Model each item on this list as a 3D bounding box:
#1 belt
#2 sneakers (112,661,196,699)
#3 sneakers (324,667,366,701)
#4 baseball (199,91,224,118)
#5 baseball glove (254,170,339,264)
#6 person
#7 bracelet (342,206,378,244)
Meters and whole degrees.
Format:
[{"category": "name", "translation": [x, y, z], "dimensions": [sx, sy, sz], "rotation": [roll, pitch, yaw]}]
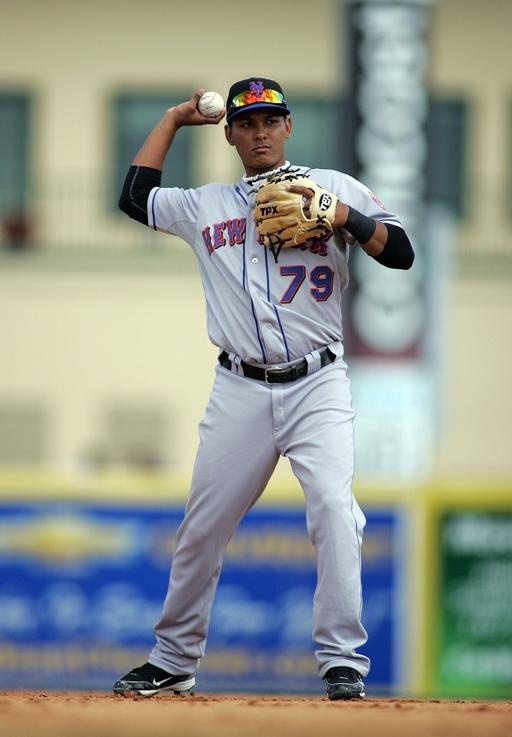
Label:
[{"category": "belt", "translation": [0.061, -0.011, 4.815], "dimensions": [0.429, 0.125, 0.113], "rotation": [2, 10, 13]}, {"category": "sneakers", "translation": [-0.365, 1.144, 4.937], "dimensions": [0.313, 0.138, 0.117], "rotation": [7, -5, -20]}, {"category": "sneakers", "translation": [0.300, 1.090, 4.605], "dimensions": [0.137, 0.120, 0.197], "rotation": [0, 9, 3]}, {"category": "baseball", "translation": [-0.167, -1.021, 5.178], "dimensions": [0.102, 0.088, 0.094], "rotation": [2, 10, 7]}, {"category": "baseball glove", "translation": [0.134, -0.557, 4.701], "dimensions": [0.288, 0.248, 0.156], "rotation": [2, 10, 10]}, {"category": "person", "translation": [-0.002, 0.097, 4.890], "dimensions": [1.037, 2.286, 0.868], "rotation": [2, 10, 13]}, {"category": "bracelet", "translation": [0.364, -0.501, 4.751], "dimensions": [0.131, 0.134, 0.085], "rotation": [-2, 10, -11]}]
